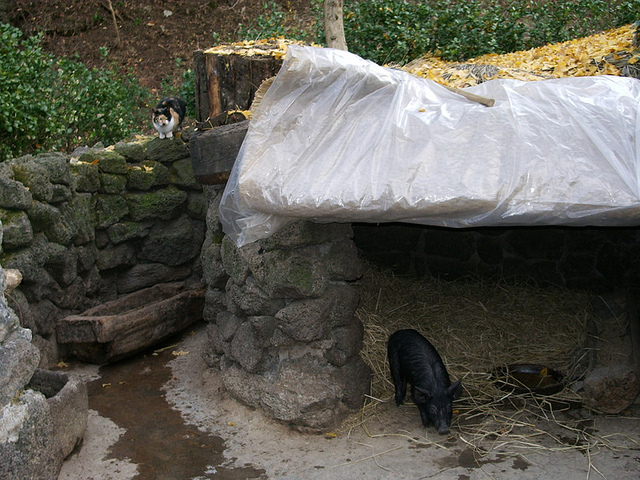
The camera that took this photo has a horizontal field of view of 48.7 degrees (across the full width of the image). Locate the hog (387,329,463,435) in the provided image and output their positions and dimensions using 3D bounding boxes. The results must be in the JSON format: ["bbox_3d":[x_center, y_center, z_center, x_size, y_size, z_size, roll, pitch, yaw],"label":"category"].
[{"bbox_3d":[0.867,1.173,6.043,0.387,0.529,0.992,-5,22,-16],"label":"hog"}]

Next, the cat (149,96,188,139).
[{"bbox_3d":[-1.727,-1.423,8.004,0.332,0.443,0.677,-1,29,-3],"label":"cat"}]
